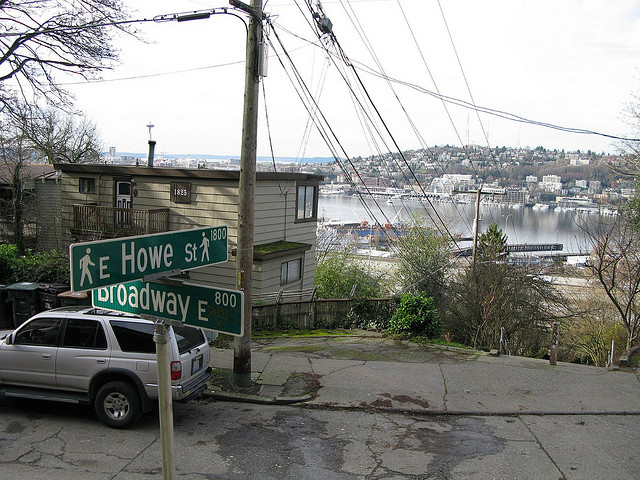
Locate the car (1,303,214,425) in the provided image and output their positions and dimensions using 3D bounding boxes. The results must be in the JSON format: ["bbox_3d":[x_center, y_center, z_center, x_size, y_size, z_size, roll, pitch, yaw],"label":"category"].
[{"bbox_3d":[-4.780,2.646,14.317,4.833,2.145,2.460,4,1,11],"label":"car"}]

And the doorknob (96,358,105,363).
[{"bbox_3d":[-4.710,2.582,13.353,0.111,0.105,0.031,7,-28,2],"label":"doorknob"}]

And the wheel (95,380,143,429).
[{"bbox_3d":[-4.280,3.496,13.328,1.040,1.080,0.376,-2,8,11],"label":"wheel"}]
